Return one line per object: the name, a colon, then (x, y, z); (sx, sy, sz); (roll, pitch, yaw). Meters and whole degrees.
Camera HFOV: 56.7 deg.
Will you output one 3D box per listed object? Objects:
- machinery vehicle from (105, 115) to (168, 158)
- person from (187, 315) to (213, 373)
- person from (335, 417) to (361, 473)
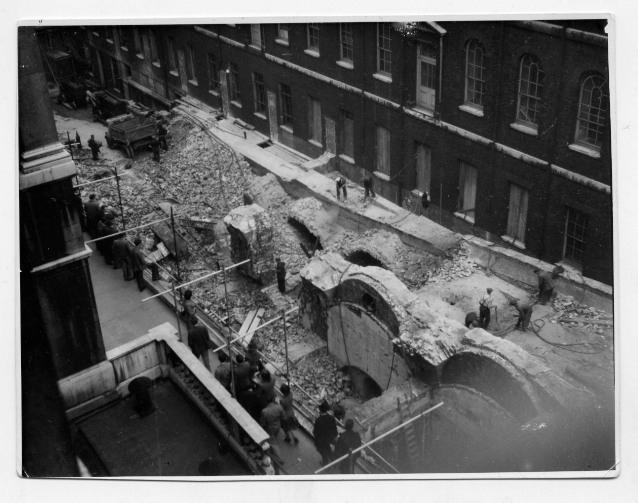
machinery vehicle: (-2.777, -1.752, 8.842); (0.756, 0.459, 0.606); (28, 38, 35)
person: (-1.692, 1.272, 8.391); (0.308, 1.037, 0.292); (-15, 41, -20)
person: (0.368, 2.441, 7.383); (0.349, 0.945, 0.148); (-5, 26, -5)
